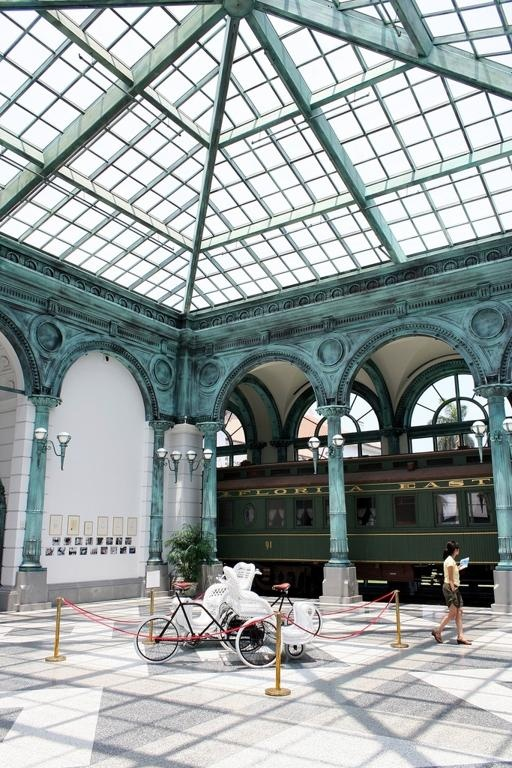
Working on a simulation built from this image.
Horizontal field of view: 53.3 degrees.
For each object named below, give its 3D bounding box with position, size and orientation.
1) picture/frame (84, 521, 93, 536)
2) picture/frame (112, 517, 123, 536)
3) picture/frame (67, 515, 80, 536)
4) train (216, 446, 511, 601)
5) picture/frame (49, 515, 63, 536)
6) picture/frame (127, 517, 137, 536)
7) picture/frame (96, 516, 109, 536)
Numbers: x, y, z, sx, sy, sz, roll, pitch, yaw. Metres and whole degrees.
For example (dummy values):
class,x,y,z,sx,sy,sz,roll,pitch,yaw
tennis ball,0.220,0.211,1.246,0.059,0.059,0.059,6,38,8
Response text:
class,x,y,z,sx,sy,sz,roll,pitch,yaw
picture/frame,-5.251,4.515,15.923,0.058,0.507,0.421,-15,-19,31
picture/frame,-4.606,4.750,16.987,0.087,0.595,0.432,-6,-12,27
picture/frame,-5.536,4.306,15.493,0.039,0.628,0.466,-6,-13,30
train,3.622,5.402,19.823,11.706,5.208,5.236,-8,-13,35
picture/frame,-5.855,4.150,14.934,0.076,0.605,0.477,-4,-12,21
picture/frame,-4.259,4.890,17.461,0.077,0.781,0.579,-10,-18,32
picture/frame,-4.959,4.575,16.405,0.079,0.714,0.616,-5,-13,26
